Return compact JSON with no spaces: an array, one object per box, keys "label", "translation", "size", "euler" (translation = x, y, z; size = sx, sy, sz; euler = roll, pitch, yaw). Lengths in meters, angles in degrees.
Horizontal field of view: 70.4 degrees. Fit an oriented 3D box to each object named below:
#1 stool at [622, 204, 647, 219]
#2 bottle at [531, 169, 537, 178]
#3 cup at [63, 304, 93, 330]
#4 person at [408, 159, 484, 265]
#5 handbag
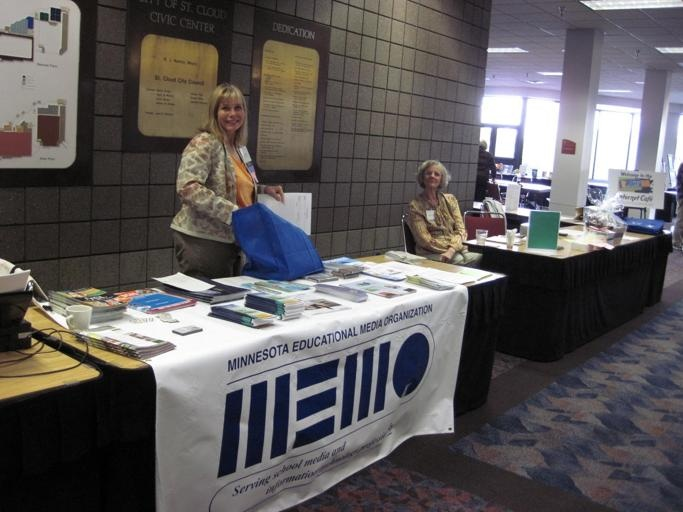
[{"label":"stool","translation":[4.605,-0.689,7.577],"size":[0.259,0.358,0.341],"euler":[9,15,42]},{"label":"bottle","translation":[5.255,-2.209,13.096],"size":[0.155,0.244,0.946],"euler":[9,13,20]},{"label":"cup","translation":[-0.931,0.215,1.729],"size":[0.072,0.071,0.094],"euler":[5,13,4]},{"label":"person","translation":[0.903,-0.377,4.301],"size":[0.593,0.957,0.692],"euler":[-7,11,-36]},{"label":"handbag","translation":[-0.313,-0.075,2.566],"size":[0.275,0.384,0.536],"euler":[1,3,27]}]
